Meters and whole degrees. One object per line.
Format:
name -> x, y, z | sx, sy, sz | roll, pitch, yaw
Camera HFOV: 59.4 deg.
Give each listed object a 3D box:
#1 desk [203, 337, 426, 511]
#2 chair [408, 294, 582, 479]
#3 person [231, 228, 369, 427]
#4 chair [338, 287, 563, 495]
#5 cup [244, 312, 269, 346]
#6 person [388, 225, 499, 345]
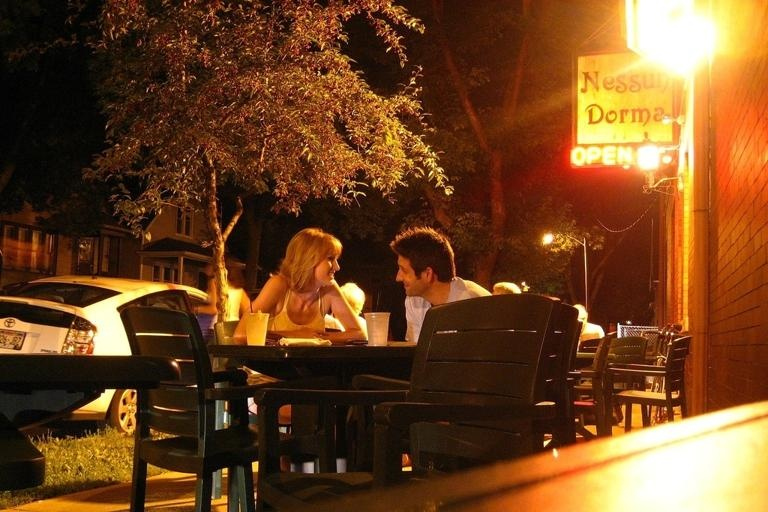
desk -> -0.538, 1.113, 4.804 | 0.921, 0.723, 0.957 | 4, -6, -19
chair -> 0.537, 0.767, 3.984 | 0.982, 1.309, 0.868 | 10, -12, -42
person -> -0.798, 0.635, 6.493 | 1.208, 1.729, 0.797 | 5, 7, -1
chair -> 0.215, 0.646, 3.807 | 1.026, 1.421, 0.954 | 7, -9, -31
cup -> -0.916, 0.543, 4.971 | 0.216, 0.229, 0.214 | 1, -3, 0
person -> 0.532, 0.367, 6.427 | 0.909, 1.211, 0.989 | 10, 15, 37
